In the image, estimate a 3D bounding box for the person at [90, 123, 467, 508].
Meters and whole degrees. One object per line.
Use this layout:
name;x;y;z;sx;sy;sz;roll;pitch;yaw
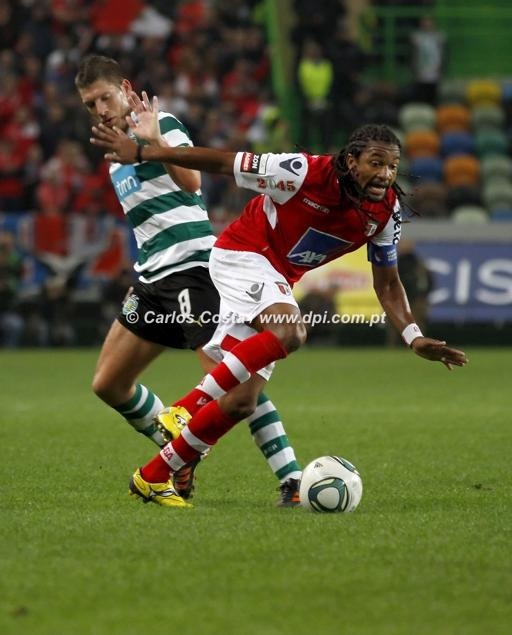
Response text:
person;0.059;-0.060;3.421;1.443;1.654;0.717;-12;21;-5
